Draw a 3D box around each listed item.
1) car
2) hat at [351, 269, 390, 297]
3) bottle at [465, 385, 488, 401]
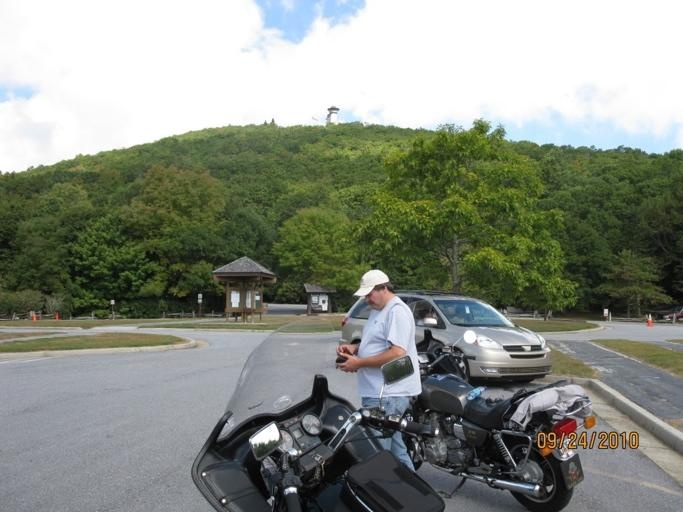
[{"bbox_3d":[2.490,1.772,12.596,2.193,1.587,3.868,4,-8,-40],"label":"car"},{"bbox_3d":[0.291,0.290,5.911,0.368,0.210,0.243,-22,5,-29],"label":"hat"},{"bbox_3d":[1.608,1.621,6.572,0.180,0.178,0.754,-11,-5,16],"label":"bottle"}]
